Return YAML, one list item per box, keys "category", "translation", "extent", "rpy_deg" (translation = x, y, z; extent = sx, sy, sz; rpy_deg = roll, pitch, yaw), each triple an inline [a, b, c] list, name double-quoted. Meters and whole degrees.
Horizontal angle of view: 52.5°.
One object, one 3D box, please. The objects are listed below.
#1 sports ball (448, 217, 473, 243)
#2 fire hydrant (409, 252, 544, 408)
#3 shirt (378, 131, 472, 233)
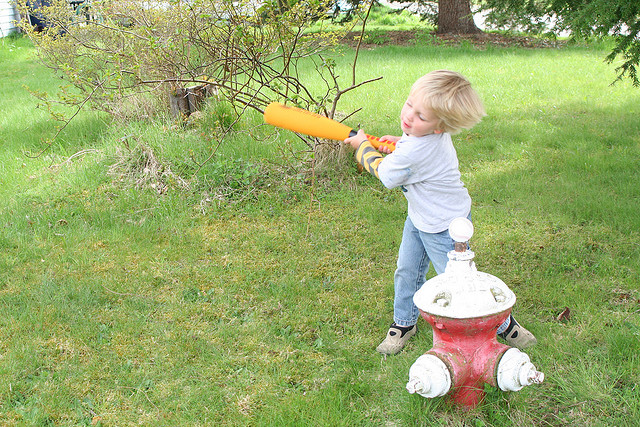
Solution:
- category: "sports ball"
  translation: [0.973, 0.114, 4.514]
  extent: [0.155, 0.186, 0.165]
  rpy_deg: [-3, 23, 1]
- category: "fire hydrant"
  translation: [1.031, 0.852, 4.459]
  extent: [0.839, 1.053, 0.533]
  rpy_deg: [-1, 24, 5]
- category: "shirt"
  translation: [0.769, -0.238, 4.839]
  extent: [0.681, 0.719, 0.367]
  rpy_deg: [-1, 24, 3]
